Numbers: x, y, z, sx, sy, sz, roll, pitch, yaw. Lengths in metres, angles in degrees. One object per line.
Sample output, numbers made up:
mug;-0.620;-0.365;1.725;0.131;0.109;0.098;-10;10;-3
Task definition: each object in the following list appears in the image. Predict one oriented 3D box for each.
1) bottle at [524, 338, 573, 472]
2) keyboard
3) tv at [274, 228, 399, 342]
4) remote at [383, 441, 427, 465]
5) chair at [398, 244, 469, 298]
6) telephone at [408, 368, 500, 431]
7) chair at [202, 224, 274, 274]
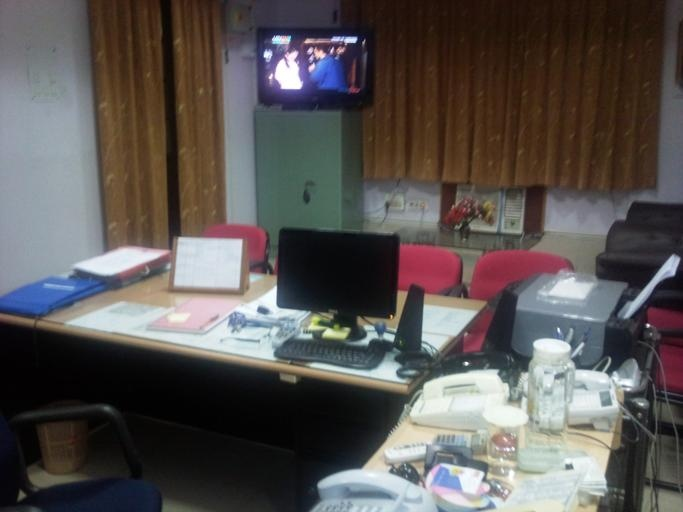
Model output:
bottle;0.674;0.457;1.799;0.141;0.421;0.254;5;15;20
keyboard;-0.045;0.410;2.345;0.282;0.033;0.184;3;17;17
tv;-0.021;0.128;2.462;0.468;0.451;0.179;3;5;15
remote;0.213;0.650;1.829;0.146;0.040;0.069;-3;14;-7
chair;0.546;0.047;3.264;0.315;0.410;0.335;2;7;13
telephone;0.412;0.504;1.954;0.257;0.131;0.193;7;29;26
chair;-0.733;-0.068;4.012;0.366;0.496;0.402;1;9;8
